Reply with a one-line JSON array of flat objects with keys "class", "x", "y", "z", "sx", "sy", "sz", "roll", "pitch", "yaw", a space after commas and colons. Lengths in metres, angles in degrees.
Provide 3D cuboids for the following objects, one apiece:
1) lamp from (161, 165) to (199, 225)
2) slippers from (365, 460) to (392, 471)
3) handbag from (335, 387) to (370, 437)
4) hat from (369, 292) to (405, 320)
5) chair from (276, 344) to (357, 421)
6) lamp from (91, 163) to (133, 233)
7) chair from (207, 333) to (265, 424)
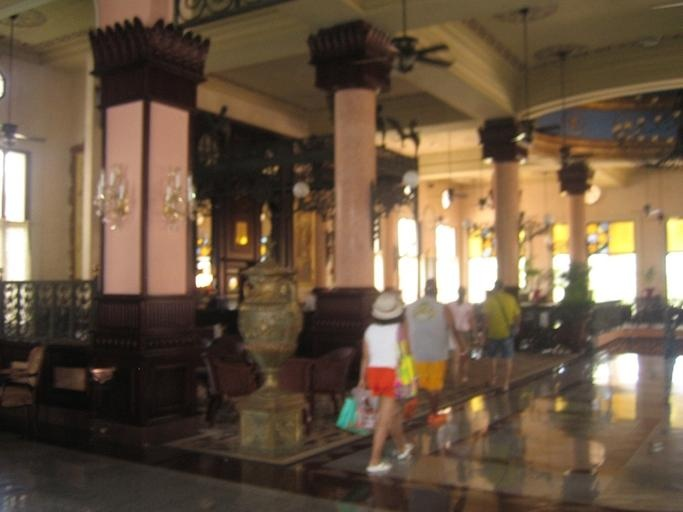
[{"class": "lamp", "x": -2.215, "y": -0.821, "z": 10.840, "sx": 0.400, "sy": 0.796, "sz": 0.274, "roll": 1, "pitch": -11, "yaw": -13}, {"class": "slippers", "x": 0.440, "y": 2.399, "z": 9.252, "sx": 0.265, "sy": 0.111, "sz": 0.120, "roll": -1, "pitch": -1, "yaw": -18}, {"class": "handbag", "x": 0.129, "y": 1.963, "z": 9.431, "sx": 0.369, "sy": 0.671, "sz": 0.595, "roll": 2, "pitch": -44, "yaw": 7}, {"class": "hat", "x": 0.558, "y": 0.558, "z": 9.400, "sx": 0.339, "sy": 0.283, "sz": 0.422, "roll": 1, "pitch": 10, "yaw": 11}, {"class": "chair", "x": -0.349, "y": 1.804, "z": 11.825, "sx": 1.189, "sy": 1.297, "sz": 1.105, "roll": 11, "pitch": -16, "yaw": -42}, {"class": "lamp", "x": -3.064, "y": -0.771, "z": 10.770, "sx": 0.591, "sy": 0.868, "sz": 0.229, "roll": 8, "pitch": 12, "yaw": 41}, {"class": "chair", "x": -1.650, "y": 1.786, "z": 11.654, "sx": 0.808, "sy": 1.146, "sz": 0.878, "roll": -6, "pitch": -23, "yaw": -25}]
